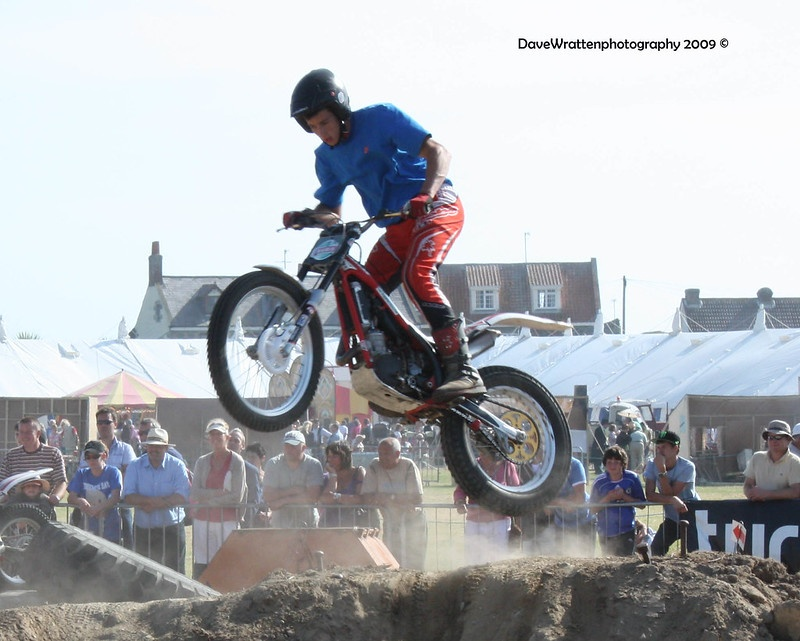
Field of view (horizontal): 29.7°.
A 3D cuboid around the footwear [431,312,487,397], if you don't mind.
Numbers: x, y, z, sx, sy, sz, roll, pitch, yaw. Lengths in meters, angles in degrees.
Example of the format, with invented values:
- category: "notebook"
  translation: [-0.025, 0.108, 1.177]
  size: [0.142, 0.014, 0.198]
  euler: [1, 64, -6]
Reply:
- category: "footwear"
  translation: [0.578, 0.376, 14.720]
  size: [0.551, 0.800, 0.364]
  euler: [0, -3, -13]

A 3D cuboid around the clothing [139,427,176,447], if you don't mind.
- category: "clothing"
  translation: [-2.918, 1.387, 18.086]
  size: [0.258, 0.130, 0.311]
  euler: [3, -14, -3]

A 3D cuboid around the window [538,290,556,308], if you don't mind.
- category: "window"
  translation: [6.362, -0.883, 64.535]
  size: [0.893, 1.057, 0.076]
  euler: [2, -41, 3]

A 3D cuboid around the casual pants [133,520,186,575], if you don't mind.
- category: "casual pants"
  translation: [-2.836, 2.687, 17.743]
  size: [0.614, 0.658, 0.016]
  euler: [1, 13, -4]

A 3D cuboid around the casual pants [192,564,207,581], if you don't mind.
- category: "casual pants"
  translation: [-2.343, 2.917, 17.504]
  size: [0.047, 0.183, 0.199]
  euler: [14, -20, 17]

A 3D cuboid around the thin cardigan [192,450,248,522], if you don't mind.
- category: "thin cardigan"
  translation: [-2.202, 1.964, 18.132]
  size: [0.619, 0.821, 0.469]
  euler: [4, -11, 3]

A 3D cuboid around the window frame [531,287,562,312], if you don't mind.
- category: "window frame"
  translation: [6.313, -0.834, 64.421]
  size: [1.041, 1.058, 0.315]
  euler: [1, -31, 0]

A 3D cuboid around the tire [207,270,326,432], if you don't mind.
- category: "tire"
  translation: [-1.287, 0.279, 14.693]
  size: [1.121, 1.590, 0.895]
  euler: [-1, -3, 5]

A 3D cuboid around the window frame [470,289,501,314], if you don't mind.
- category: "window frame"
  translation: [3.622, -0.774, 63.782]
  size: [1.323, 1.285, 0.107]
  euler: [4, -35, -4]

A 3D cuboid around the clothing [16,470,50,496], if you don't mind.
- category: "clothing"
  translation: [-4.383, 1.961, 18.055]
  size: [0.278, 0.295, 0.084]
  euler: [0, 7, -18]

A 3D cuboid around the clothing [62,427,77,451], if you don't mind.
- category: "clothing"
  translation: [-6.724, 2.448, 30.611]
  size: [0.237, 0.564, 0.332]
  euler: [-6, -6, 7]

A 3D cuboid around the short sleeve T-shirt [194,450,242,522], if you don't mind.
- category: "short sleeve T-shirt"
  translation: [-2.206, 1.943, 18.109]
  size: [0.607, 0.814, 0.438]
  euler: [7, 1, 7]

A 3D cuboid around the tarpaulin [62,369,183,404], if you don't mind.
- category: "tarpaulin"
  translation: [-5.999, 1.443, 32.276]
  size: [2.045, 0.754, 1.454]
  euler: [0, -3, -13]
